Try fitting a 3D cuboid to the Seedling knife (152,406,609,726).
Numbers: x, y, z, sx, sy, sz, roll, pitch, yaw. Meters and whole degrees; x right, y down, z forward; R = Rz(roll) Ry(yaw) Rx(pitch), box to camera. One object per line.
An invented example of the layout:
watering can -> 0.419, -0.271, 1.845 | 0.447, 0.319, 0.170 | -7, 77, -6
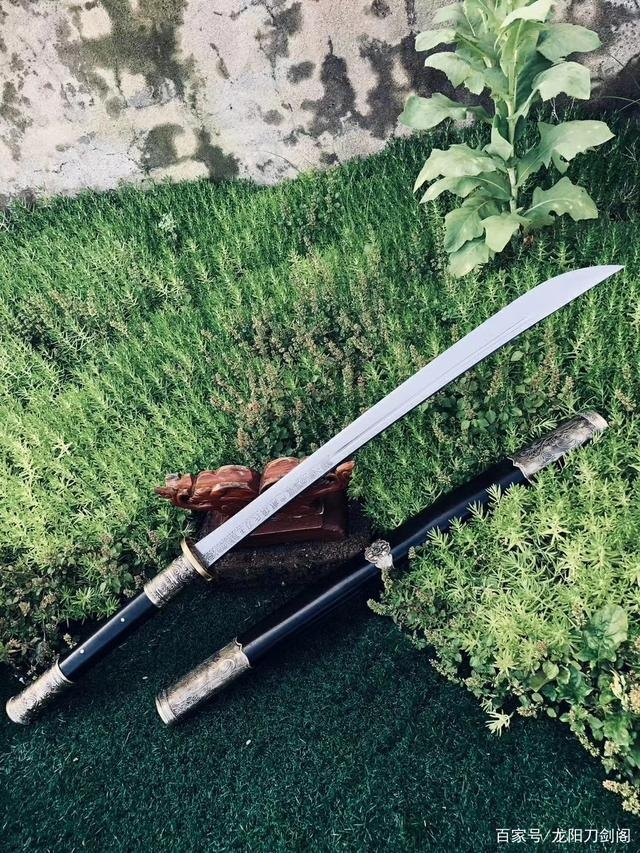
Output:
Seedling knife -> 0.159, 0.322, 1.771 | 1.265, 0.083, 0.120 | -29, 55, -1
